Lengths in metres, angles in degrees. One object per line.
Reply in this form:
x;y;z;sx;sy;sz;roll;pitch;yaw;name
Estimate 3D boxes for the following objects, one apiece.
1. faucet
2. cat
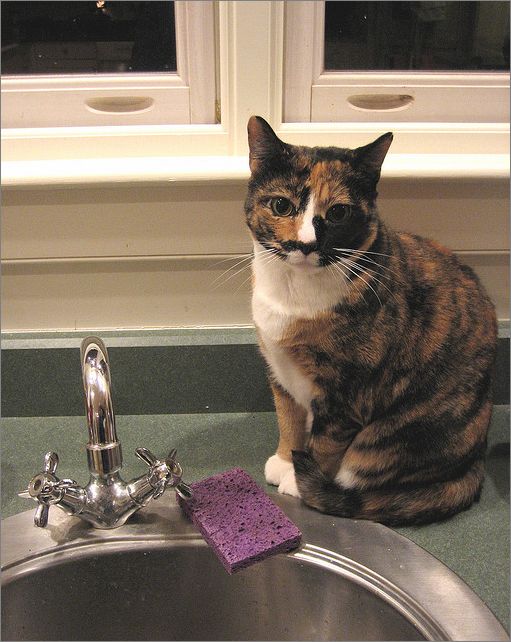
-0.203;0.152;0.896;0.203;0.198;0.118;-10;27;-24;faucet
0.173;0.000;0.854;0.325;0.477;0.289;-4;28;-9;cat
